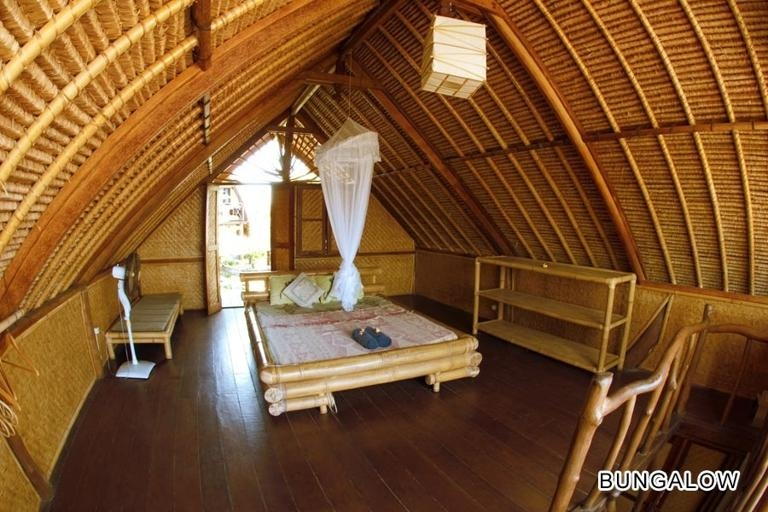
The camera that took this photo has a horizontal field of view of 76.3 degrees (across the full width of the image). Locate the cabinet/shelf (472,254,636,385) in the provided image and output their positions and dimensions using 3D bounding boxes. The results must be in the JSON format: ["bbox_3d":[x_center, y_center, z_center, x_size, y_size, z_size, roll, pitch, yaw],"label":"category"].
[{"bbox_3d":[2.181,0.728,6.601,0.685,1.194,1.956,-5,12,-40],"label":"cabinet/shelf"}]

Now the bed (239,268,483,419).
[{"bbox_3d":[-0.373,1.145,6.212,2.504,0.857,2.207,-1,3,-19],"label":"bed"}]

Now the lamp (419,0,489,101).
[{"bbox_3d":[0.590,-1.764,4.320,0.572,0.476,0.447,3,-3,-23],"label":"lamp"}]
